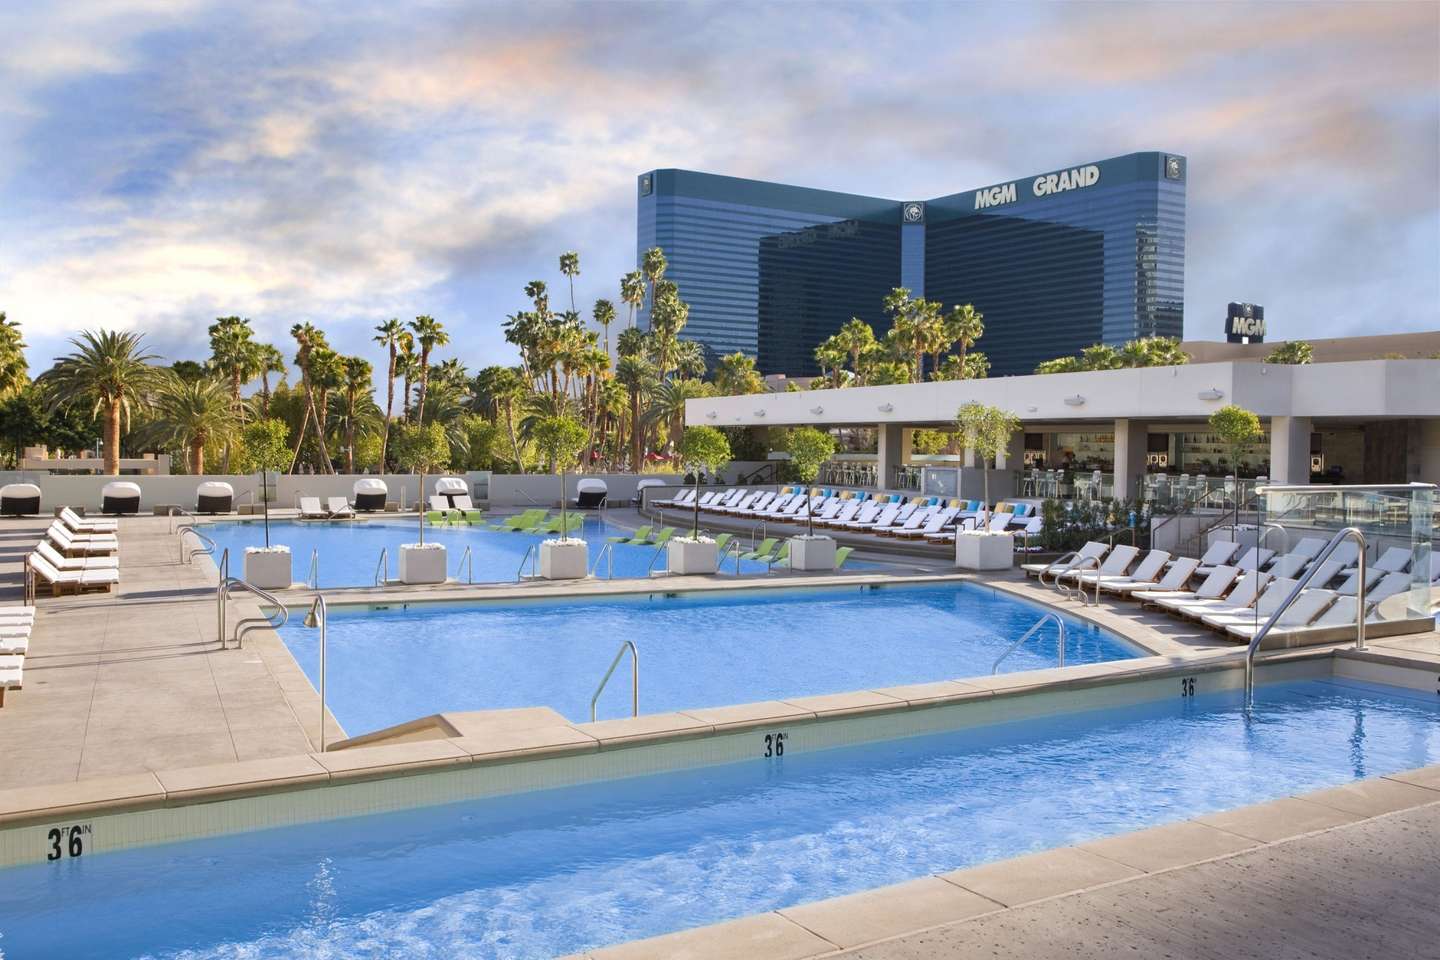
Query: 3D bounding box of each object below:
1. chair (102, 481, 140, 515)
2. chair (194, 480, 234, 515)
[{"bbox_3d":[-19.217,0.557,38.092,1.115,0.921,1.075,1,-3,-35],"label":"chair"},{"bbox_3d":[-16.450,0.552,38.833,1.147,0.975,1.113,-2,3,-11],"label":"chair"}]
